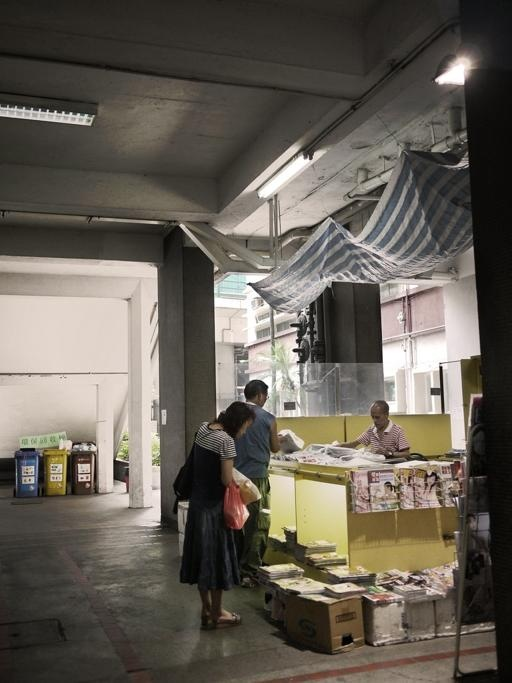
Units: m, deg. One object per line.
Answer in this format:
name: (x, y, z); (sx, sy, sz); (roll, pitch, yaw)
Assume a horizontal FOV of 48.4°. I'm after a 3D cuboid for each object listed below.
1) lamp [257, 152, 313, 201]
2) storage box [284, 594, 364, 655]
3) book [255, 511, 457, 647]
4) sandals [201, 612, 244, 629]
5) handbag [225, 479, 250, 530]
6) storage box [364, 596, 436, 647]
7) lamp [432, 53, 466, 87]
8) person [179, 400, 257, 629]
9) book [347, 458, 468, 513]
lamp: (0.300, -1.649, 5.604); (0.160, 0.075, 0.935); (30, -17, -20)
storage box: (0.398, 1.676, 3.457); (0.232, 0.290, 0.431); (6, -14, -34)
book: (0.759, 1.303, 3.523); (0.928, 0.233, 0.929); (3, -5, -27)
sandals: (-0.234, 1.867, 3.833); (0.253, 0.102, 0.099); (-3, -3, -22)
handbag: (-0.130, 1.066, 3.687); (0.119, 0.308, 0.172); (4, 10, 39)
storage box: (0.833, 1.625, 3.487); (0.319, 0.201, 0.322); (1, -8, -12)
lamp: (1.170, -1.686, 3.451); (0.159, 0.163, 0.428); (0, 8, 16)
person: (-0.255, 1.173, 3.779); (0.552, 1.497, 0.440); (-4, 8, -10)
book: (0.985, 0.967, 3.792); (0.565, 0.229, 0.474); (-4, -4, 16)
